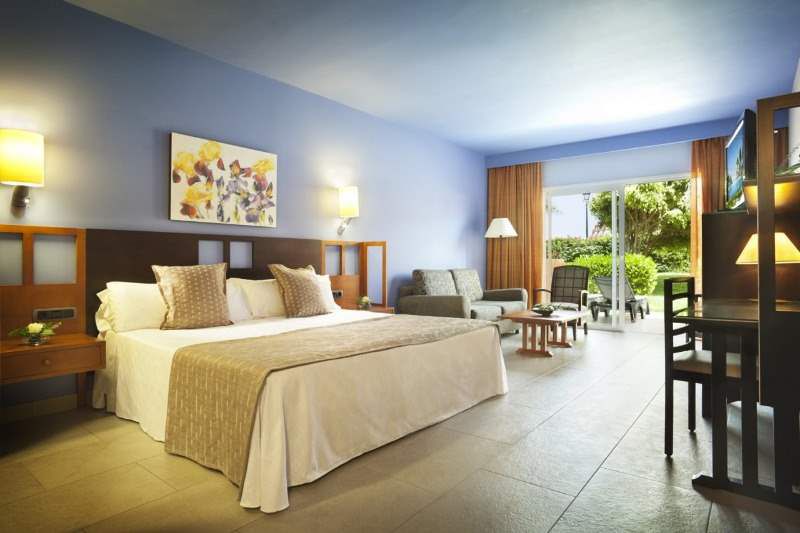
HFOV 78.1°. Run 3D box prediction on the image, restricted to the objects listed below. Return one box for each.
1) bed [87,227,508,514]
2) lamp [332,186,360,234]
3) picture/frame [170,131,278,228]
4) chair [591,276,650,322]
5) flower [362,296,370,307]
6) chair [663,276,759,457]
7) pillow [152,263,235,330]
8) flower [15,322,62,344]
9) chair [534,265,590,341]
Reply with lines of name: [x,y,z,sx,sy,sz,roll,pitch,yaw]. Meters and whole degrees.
bed: [-1.208,0.879,4.383,2.544,1.554,2.579,-2,-1,37]
lamp: [-0.698,-0.730,6.473,0.256,0.643,0.403,0,8,-8]
picture/frame: [-1.946,-0.936,5.307,0.042,0.825,1.195,-1,-2,45]
chair: [3.725,0.510,8.520,0.728,0.813,1.242,-4,-3,19]
flower: [-0.455,0.451,6.243,0.100,0.093,0.101,0,1,22]
chair: [2.485,0.741,3.728,0.884,1.297,0.881,-1,4,30]
pillow: [-1.936,0.292,4.558,0.548,0.558,0.219,-6,-24,-40]
flower: [-3.011,0.549,4.115,0.235,0.102,0.217,3,-6,-15]
chair: [2.569,0.538,7.758,0.737,1.075,0.777,3,4,41]
